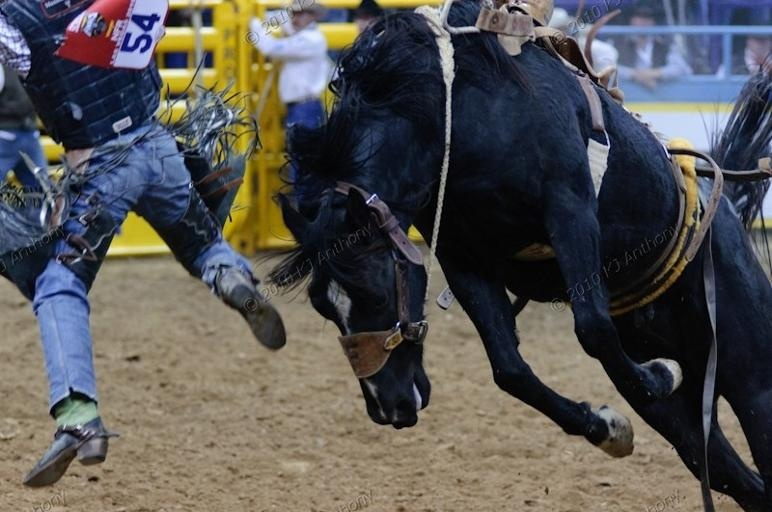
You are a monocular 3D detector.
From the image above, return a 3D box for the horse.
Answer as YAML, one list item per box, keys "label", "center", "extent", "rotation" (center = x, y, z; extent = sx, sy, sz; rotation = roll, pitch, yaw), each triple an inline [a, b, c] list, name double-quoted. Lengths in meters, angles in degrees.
- label: "horse"
  center: [0.569, 0.012, 7.684]
  extent: [2.217, 2.396, 0.871]
  rotation: [-3, 19, -6]
